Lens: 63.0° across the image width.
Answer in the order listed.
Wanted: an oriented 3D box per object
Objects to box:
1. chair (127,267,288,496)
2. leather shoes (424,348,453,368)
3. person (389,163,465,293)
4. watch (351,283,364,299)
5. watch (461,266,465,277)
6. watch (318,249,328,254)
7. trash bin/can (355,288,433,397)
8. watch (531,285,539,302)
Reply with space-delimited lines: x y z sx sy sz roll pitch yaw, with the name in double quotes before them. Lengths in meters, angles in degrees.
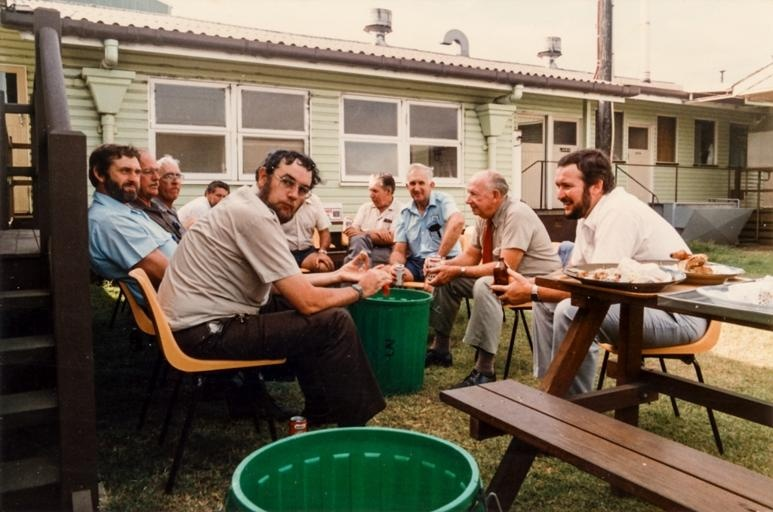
"chair" -1.155 0.688 4.173 0.884 1.327 0.787 -7 14 -24
"leather shoes" 0.472 0.926 5.690 0.287 0.120 0.111 4 -4 -16
"person" 0.315 -0.306 6.418 0.859 1.174 0.853 -6 6 -11
"watch" -0.200 0.242 4.359 0.070 0.097 0.111 8 1 29
"watch" 0.650 0.133 5.385 0.054 0.074 0.081 -2 -3 7
"watch" -0.733 -0.050 7.170 0.072 0.064 0.093 0 -6 -1
"trash bin/can" 0.153 0.686 5.256 0.735 0.756 0.743 -12 -1 18
"watch" 0.983 0.247 4.192 0.061 0.103 0.106 0 2 16
